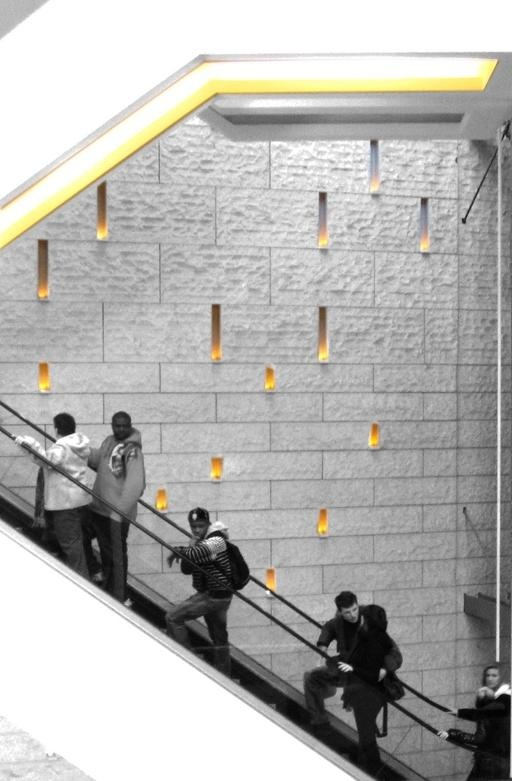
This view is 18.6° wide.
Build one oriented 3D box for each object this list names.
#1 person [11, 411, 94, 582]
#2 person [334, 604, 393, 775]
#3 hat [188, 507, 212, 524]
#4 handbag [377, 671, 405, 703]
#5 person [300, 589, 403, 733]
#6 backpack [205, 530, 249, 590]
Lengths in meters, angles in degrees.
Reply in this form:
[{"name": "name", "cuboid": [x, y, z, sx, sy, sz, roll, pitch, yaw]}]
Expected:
[{"name": "person", "cuboid": [-1.527, 0.816, 11.635, 0.481, 1.371, 0.473, -43, -43, 20]}, {"name": "person", "cuboid": [0.883, 2.344, 12.829, 0.607, 1.442, 1.696, 3, -9, 3]}, {"name": "hat", "cuboid": [-0.513, 1.079, 13.730, 0.109, 0.153, 0.167, 1, 8, 6]}, {"name": "handbag", "cuboid": [1.123, 2.488, 13.150, 0.091, 0.297, 0.209, -20, 10, 24]}, {"name": "person", "cuboid": [0.722, 2.299, 13.269, 0.559, 1.221, 0.534, 6, 3, -33]}, {"name": "backpack", "cuboid": [-0.269, 1.396, 12.960, 0.245, 0.487, 0.347, -24, -24, -5]}]
